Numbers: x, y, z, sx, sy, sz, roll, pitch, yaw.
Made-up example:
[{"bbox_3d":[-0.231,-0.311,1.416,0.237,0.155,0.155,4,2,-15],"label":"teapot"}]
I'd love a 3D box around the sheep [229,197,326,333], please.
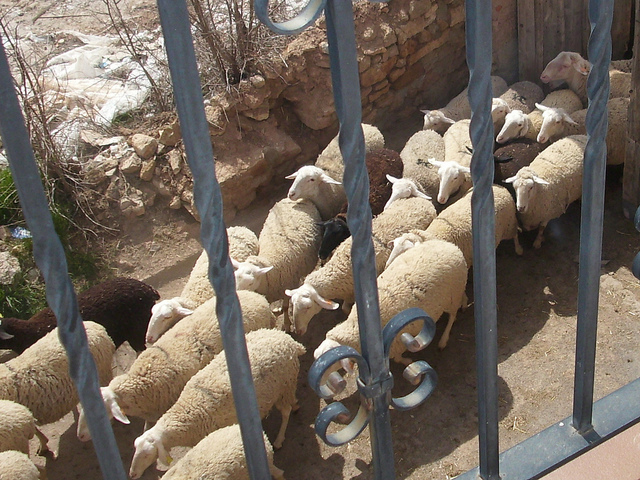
[{"bbox_3d":[-0.318,0.077,7.972,0.588,0.861,1.663,8,46,19],"label":"sheep"}]

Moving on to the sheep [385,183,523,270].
[{"bbox_3d":[1.554,-0.167,7.589,0.420,0.691,1.300,-7,-13,42],"label":"sheep"}]

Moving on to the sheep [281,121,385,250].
[{"bbox_3d":[0.084,-0.504,8.758,0.511,0.897,1.545,-8,20,21],"label":"sheep"}]

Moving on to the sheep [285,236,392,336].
[{"bbox_3d":[0.132,0.391,6.405,0.318,0.514,0.975,21,54,39],"label":"sheep"}]

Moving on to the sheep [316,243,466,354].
[{"bbox_3d":[0.810,0.710,7.058,1.482,0.948,0.538,-33,36,-29],"label":"sheep"}]
